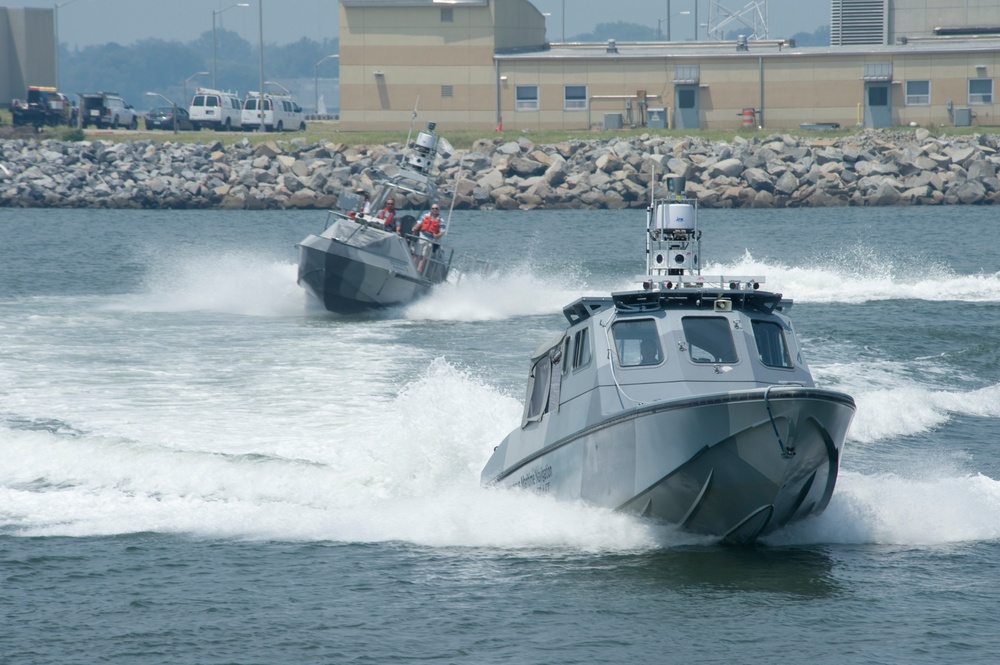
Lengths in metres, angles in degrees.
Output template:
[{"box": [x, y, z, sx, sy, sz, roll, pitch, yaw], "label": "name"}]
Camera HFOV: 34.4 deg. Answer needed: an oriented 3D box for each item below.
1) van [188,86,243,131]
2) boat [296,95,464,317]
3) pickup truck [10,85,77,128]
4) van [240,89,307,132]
[{"box": [-16.516, -13.325, 97.027, 2.281, 2.227, 4.334, 6, 8, 14], "label": "van"}, {"box": [-3.479, -3.217, 46.616, 4.084, 5.444, 1.691, -3, 11, -20], "label": "boat"}, {"box": [-26.970, -13.604, 98.049, 2.317, 2.039, 3.756, 6, 12, 24], "label": "pickup truck"}, {"box": [-13.548, -13.159, 96.761, 2.078, 1.698, 3.707, 2, 9, 23], "label": "van"}]
